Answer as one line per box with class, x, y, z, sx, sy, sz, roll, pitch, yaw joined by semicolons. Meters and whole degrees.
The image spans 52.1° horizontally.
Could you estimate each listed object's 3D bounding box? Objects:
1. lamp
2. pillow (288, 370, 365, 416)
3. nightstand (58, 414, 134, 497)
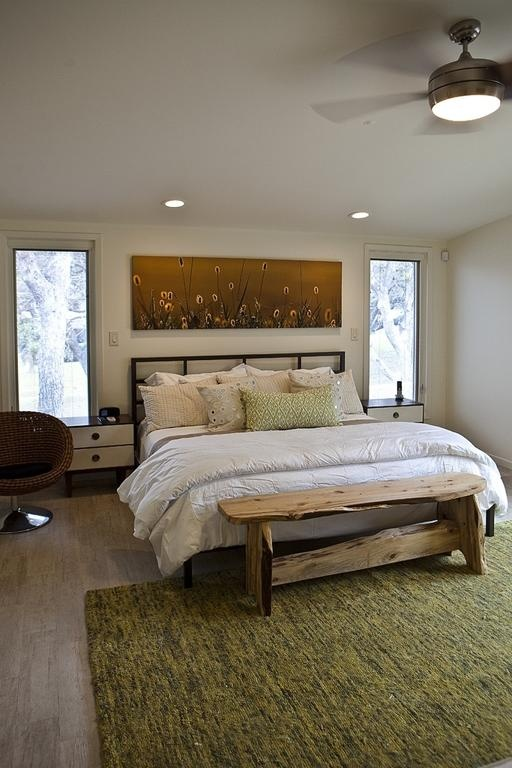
lamp;0.675;-0.929;1.715;0.194;0.141;0.197;-2;-1;6
pillow;0.563;0.099;4.193;0.528;0.377;0.151;1;-27;-42
nightstand;-1.144;0.435;3.881;0.613;0.653;0.493;-1;1;-23
